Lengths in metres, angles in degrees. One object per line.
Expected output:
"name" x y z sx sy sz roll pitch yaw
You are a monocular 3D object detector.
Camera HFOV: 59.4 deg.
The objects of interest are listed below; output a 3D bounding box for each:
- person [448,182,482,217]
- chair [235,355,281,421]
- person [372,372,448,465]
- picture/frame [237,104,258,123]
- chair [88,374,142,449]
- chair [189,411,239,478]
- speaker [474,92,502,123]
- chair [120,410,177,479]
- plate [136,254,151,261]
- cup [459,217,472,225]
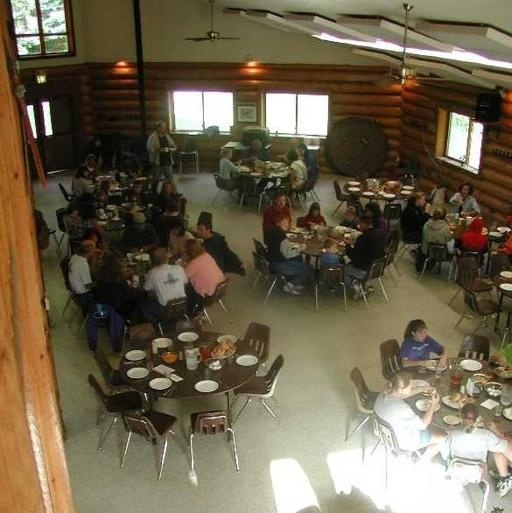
"person" 4.770 -1.125 10.334 0.656 0.967 0.550 13 20 31
"chair" -0.001 1.744 5.847 0.779 0.864 0.614 3 27 -6
"person" 1.726 1.819 4.955 0.741 1.194 0.512 -35 39 2
"picture/frame" -0.297 -5.001 15.644 0.729 0.512 0.089 4 31 10
"chair" -1.738 1.943 5.531 0.709 0.811 0.509 -7 49 -9
"chair" -0.524 2.017 5.254 0.600 0.838 0.554 -3 20 -6
"speaker" 5.499 -3.488 10.569 0.575 0.704 0.333 8 22 22
"chair" -1.264 2.222 5.242 0.560 0.717 0.560 14 45 8
"plate" -2.039 0.023 8.081 0.162 0.096 0.150 1 0 -23
"cup" 4.473 -0.756 9.611 0.168 0.095 0.259 3 11 19
